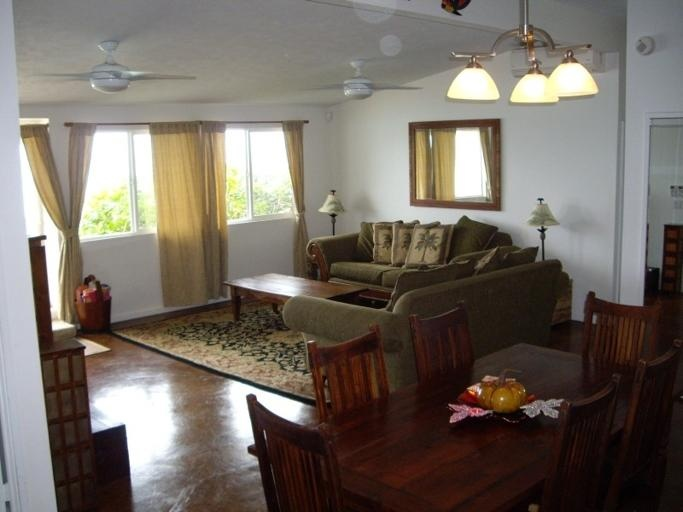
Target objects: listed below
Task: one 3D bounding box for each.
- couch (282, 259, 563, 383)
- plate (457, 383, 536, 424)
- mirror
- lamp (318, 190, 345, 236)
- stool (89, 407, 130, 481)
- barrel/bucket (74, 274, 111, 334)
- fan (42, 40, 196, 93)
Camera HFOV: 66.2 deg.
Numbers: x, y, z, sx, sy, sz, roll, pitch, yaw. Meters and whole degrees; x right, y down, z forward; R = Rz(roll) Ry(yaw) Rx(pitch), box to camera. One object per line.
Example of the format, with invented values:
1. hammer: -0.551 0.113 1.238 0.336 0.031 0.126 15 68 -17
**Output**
1. couch: 0.893 0.540 4.510 2.425 0.813 0.891 -7 13 -22
2. plate: 0.716 0.698 2.476 0.412 0.091 0.256 0 12 9
3. mirror: 1.634 -1.310 7.357 1.354 1.167 0.101 3 5 44
4. lamp: -0.166 -0.691 8.648 0.432 0.762 0.807 -2 12 -2
5. stool: -1.607 1.330 3.638 0.212 0.375 0.250 -8 14 -27
6. barrel/bucket: -3.111 0.580 6.508 0.429 0.670 0.433 7 3 0
7. fan: -1.827 -1.598 4.406 0.783 0.434 0.842 -3 12 -5
